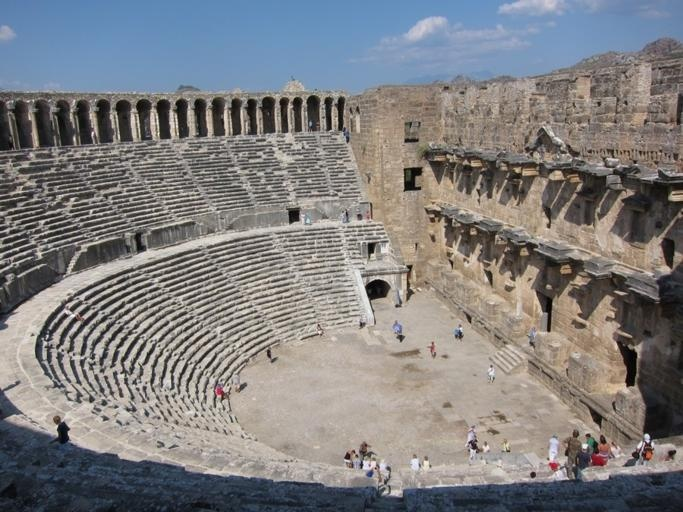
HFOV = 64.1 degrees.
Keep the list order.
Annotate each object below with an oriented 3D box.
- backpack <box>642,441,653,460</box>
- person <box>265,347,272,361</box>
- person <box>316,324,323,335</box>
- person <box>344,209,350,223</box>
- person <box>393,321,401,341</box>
[{"bbox_3d":[8.658,5.568,15.456,0.257,0.444,0.341,20,-6,44],"label":"backpack"},{"bbox_3d":[-3.395,4.566,25.450,0.288,0.526,0.781,-8,18,-12],"label":"person"},{"bbox_3d":[-1.132,3.769,27.885,0.373,0.444,0.699,-5,18,-3],"label":"person"},{"bbox_3d":[0.314,-2.489,34.076,0.319,0.707,0.759,-3,18,3],"label":"person"},{"bbox_3d":[2.813,3.745,27.461,0.405,0.739,0.997,-2,18,4],"label":"person"}]
